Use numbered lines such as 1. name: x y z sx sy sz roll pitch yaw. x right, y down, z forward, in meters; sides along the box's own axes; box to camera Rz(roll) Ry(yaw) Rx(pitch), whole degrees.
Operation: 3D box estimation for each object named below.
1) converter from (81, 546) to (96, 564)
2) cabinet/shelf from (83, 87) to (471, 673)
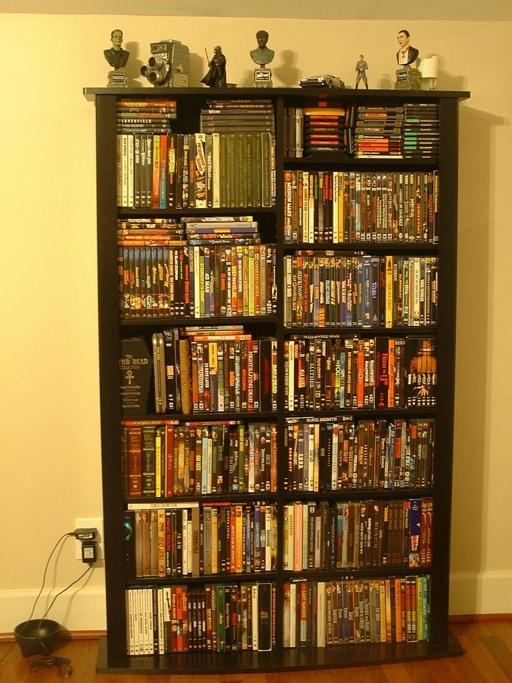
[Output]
1. converter: -0.595 0.752 3.190 0.051 0.080 0.040 1 14 -2
2. cabinet/shelf: 0.073 0.129 2.980 1.232 1.884 0.427 -2 10 -13
